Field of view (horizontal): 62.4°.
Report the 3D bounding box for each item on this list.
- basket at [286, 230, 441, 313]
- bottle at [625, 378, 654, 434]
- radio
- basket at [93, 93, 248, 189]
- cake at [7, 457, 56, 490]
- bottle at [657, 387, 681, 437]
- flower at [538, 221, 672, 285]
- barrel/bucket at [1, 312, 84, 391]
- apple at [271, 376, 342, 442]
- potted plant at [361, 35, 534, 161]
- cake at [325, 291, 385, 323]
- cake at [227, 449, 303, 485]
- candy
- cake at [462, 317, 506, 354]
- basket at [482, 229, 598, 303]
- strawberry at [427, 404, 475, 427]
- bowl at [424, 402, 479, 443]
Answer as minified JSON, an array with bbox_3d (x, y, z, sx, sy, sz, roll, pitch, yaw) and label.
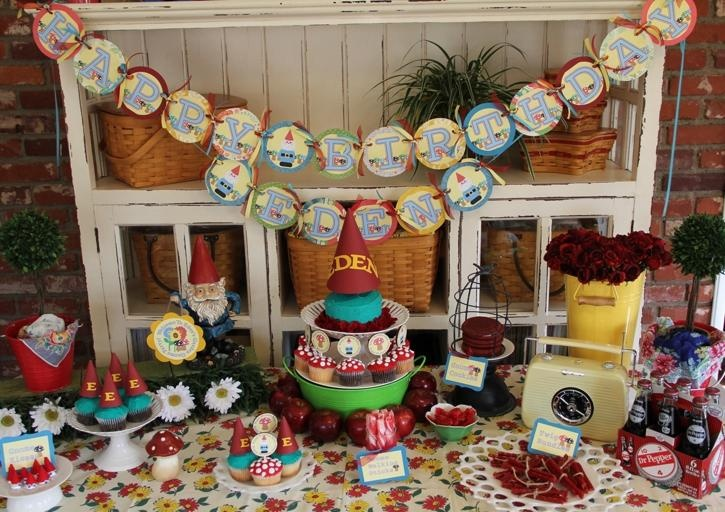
[{"bbox_3d":[-0.004,0.046,1.961,0.452,0.184,0.275,0,5,-2],"label":"basket"},{"bbox_3d":[0.700,0.379,1.524,0.057,0.143,0.070,4,12,30],"label":"bottle"},{"bbox_3d":[0.603,0.378,1.653,0.297,0.216,0.117,6,14,25],"label":"radio"},{"bbox_3d":[-0.645,-0.413,2.109,0.451,0.197,0.361,-14,27,-33],"label":"basket"},{"bbox_3d":[-0.818,0.542,1.485,0.089,0.030,0.064,-2,5,-4],"label":"cake"},{"bbox_3d":[0.762,0.382,1.493,0.045,0.111,0.092,3,11,26],"label":"bottle"},{"bbox_3d":[0.708,-0.003,1.710,0.252,0.071,0.191,-13,42,-7],"label":"flower"},{"bbox_3d":[-0.977,0.286,1.841,0.186,0.217,0.228,-7,11,-29],"label":"barrel/bucket"},{"bbox_3d":[-0.171,0.459,1.744,0.200,0.072,0.122,36,29,26],"label":"apple"},{"bbox_3d":[0.323,-0.604,2.120,0.554,0.232,0.514,-3,19,-1],"label":"potted plant"},{"bbox_3d":[-0.025,0.152,1.743,0.167,0.079,0.088,-2,10,-3],"label":"cake"},{"bbox_3d":[-0.251,0.543,1.533,0.116,0.031,0.106,1,3,7],"label":"cake"},{"bbox_3d":[0.447,0.554,1.502,0.249,0.063,0.146,1,10,13],"label":"candy"},{"bbox_3d":[0.355,0.240,1.804,0.123,0.080,0.112,-1,12,-4],"label":"cake"},{"bbox_3d":[0.524,0.027,1.900,0.455,0.256,0.265,-1,13,-1],"label":"basket"},{"bbox_3d":[0.261,0.451,1.690,0.070,0.018,0.066,-5,9,-28],"label":"strawberry"},{"bbox_3d":[0.254,0.477,1.704,0.144,0.084,0.127,0,10,10],"label":"bowl"}]
